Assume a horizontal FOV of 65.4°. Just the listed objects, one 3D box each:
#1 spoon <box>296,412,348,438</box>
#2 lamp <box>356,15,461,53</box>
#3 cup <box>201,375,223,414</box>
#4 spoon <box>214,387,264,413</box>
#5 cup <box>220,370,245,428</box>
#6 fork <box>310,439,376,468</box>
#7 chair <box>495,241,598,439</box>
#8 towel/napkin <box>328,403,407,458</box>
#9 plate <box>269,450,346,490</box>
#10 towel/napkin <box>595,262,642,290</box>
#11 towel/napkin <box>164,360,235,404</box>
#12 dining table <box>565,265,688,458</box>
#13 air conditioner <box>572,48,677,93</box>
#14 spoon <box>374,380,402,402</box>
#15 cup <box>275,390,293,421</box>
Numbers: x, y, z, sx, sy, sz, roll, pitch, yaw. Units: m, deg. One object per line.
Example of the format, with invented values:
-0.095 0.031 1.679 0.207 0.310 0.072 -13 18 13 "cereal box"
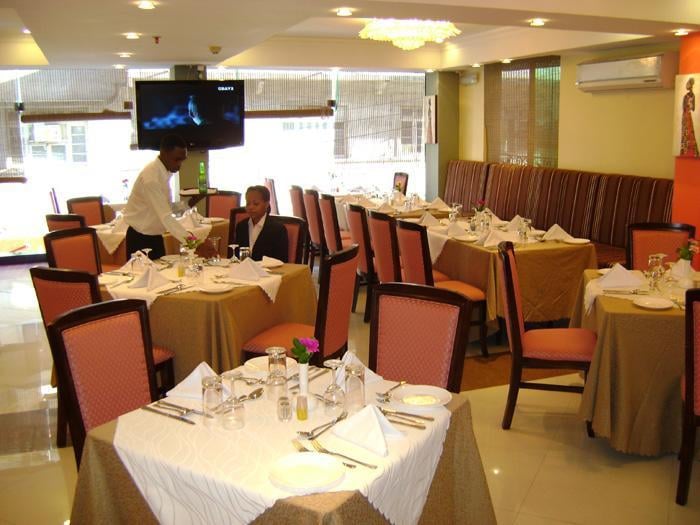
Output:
-0.095 0.604 2.103 0.061 0.033 0.210 5 7 25 "spoon"
0.725 -2.929 6.920 0.894 0.296 0.949 2 10 12 "lamp"
-0.551 0.530 2.192 0.086 0.153 0.087 2 4 0 "cup"
-0.452 0.558 2.255 0.055 0.048 0.336 6 4 16 "spoon"
-0.480 0.521 2.217 0.081 0.159 0.330 -3 15 -12 "cup"
-0.021 0.674 1.916 0.188 0.024 0.022 12 37 35 "fork"
1.425 0.511 3.859 0.674 1.263 0.609 -1 4 32 "chair"
0.067 0.619 1.998 0.170 0.055 0.174 23 32 34 "towel/napkin"
-0.144 0.696 1.812 0.245 0.041 0.175 0 15 -5 "plate"
1.869 0.112 3.819 0.185 0.091 0.257 -1 6 13 "towel/napkin"
-0.682 0.587 2.367 0.066 0.264 0.278 -30 -35 22 "towel/napkin"
1.784 0.748 3.428 0.595 0.950 0.310 1 14 1 "dining table"
3.601 -2.505 7.197 0.385 0.475 1.218 -14 19 -28 "air conditioner"
0.165 0.549 2.361 0.040 0.037 0.246 3 6 16 "spoon"
-0.255 0.573 2.184 0.058 0.100 0.099 0 0 1 "cup"
